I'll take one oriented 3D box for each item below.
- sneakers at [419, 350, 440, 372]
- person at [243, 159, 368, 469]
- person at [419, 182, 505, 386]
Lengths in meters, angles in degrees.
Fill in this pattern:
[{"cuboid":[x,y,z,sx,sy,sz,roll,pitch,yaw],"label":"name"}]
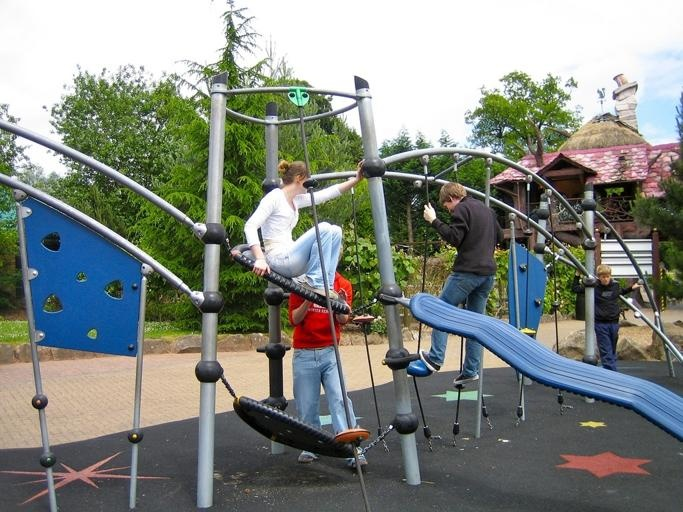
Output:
[{"cuboid":[0.882,1.059,6.505,0.286,0.115,0.105,48,23,27],"label":"sneakers"},{"cuboid":[-0.334,0.538,5.864,1.015,2.853,1.048,0,3,1],"label":"person"},{"cuboid":[1.239,0.318,6.702,1.095,2.199,0.616,-3,4,-42],"label":"person"}]
